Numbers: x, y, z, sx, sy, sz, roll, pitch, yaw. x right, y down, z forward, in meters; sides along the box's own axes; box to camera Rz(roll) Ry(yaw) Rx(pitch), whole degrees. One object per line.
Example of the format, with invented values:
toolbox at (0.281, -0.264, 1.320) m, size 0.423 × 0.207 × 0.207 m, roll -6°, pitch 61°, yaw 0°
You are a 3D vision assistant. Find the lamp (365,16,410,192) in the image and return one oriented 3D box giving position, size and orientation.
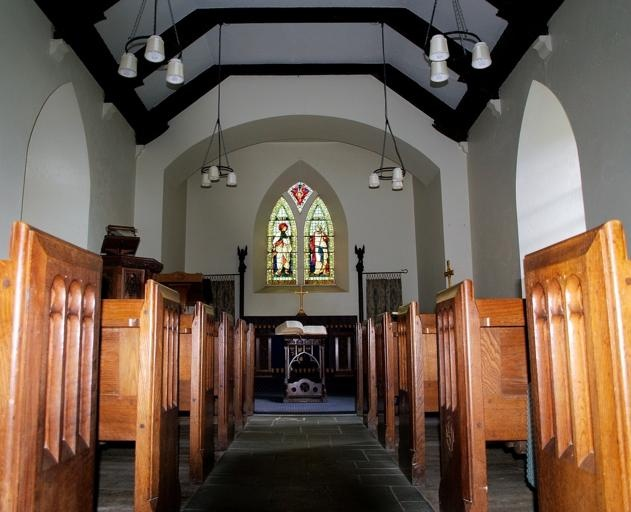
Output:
lamp at (1.121, -2.514, 9.027) m, size 0.546 × 2.718 × 0.560 m, roll -15°, pitch 18°, yaw -42°
